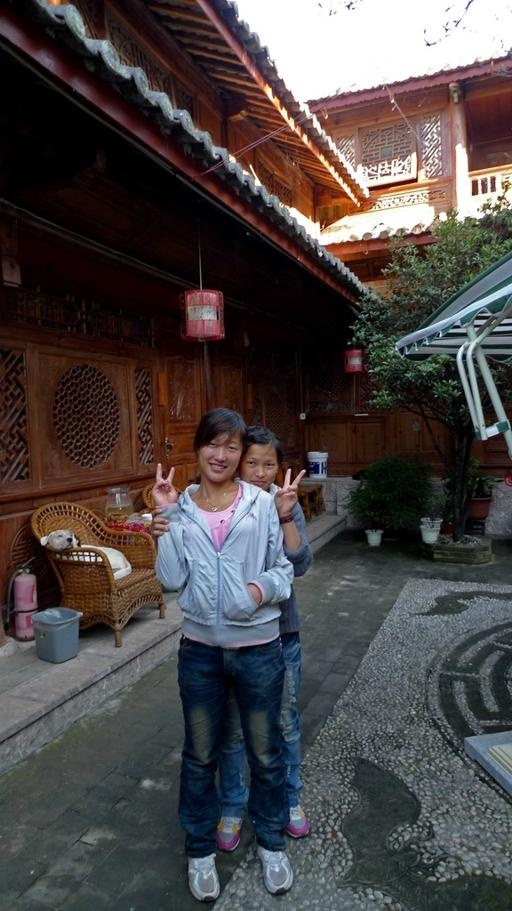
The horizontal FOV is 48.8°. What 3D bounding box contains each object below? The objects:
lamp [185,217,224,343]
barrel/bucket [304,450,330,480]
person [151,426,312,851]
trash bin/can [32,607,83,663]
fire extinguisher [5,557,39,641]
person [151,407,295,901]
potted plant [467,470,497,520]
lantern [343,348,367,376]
[{"bbox_3d":[-0.404,-1.319,4.405,0.287,0.945,0.270,-1,1,0],"label":"lamp"},{"bbox_3d":[1.079,0.191,10.237,0.425,0.499,0.445,0,-3,0],"label":"barrel/bucket"},{"bbox_3d":[-0.062,0.695,1.915,0.438,1.676,0.479,-1,4,26],"label":"person"},{"bbox_3d":[-1.214,1.100,3.454,0.244,0.275,0.277,0,0,16],"label":"trash bin/can"},{"bbox_3d":[-1.548,0.972,3.730,0.158,0.492,0.150,0,1,28],"label":"fire extinguisher"},{"bbox_3d":[-0.118,0.614,1.764,0.539,1.439,0.376,0,-4,-17],"label":"person"},{"bbox_3d":[3.151,0.566,7.935,0.552,0.730,0.556,-1,-3,22],"label":"potted plant"},{"bbox_3d":[1.500,-1.450,8.591,0.246,0.375,0.322,0,1,18],"label":"lantern"}]
